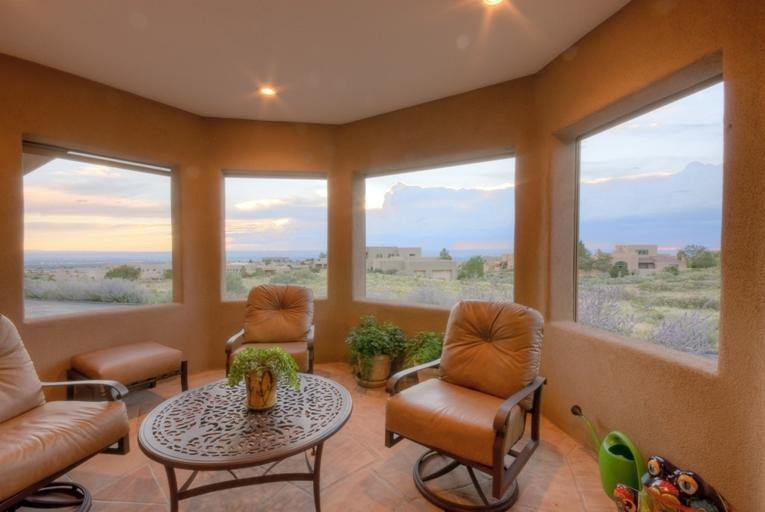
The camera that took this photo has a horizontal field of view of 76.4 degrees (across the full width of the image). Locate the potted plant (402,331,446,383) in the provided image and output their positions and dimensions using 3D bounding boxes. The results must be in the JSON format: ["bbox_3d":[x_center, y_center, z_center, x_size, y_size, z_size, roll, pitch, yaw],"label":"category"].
[{"bbox_3d":[0.546,1.064,5.316,0.534,0.527,0.486,1,-5,-26],"label":"potted plant"}]

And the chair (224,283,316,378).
[{"bbox_3d":[-1.185,0.828,5.467,0.894,1.162,1.054,0,-15,-6],"label":"chair"}]

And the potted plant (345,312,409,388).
[{"bbox_3d":[-0.051,1.072,5.736,0.640,0.801,0.785,-2,-3,20],"label":"potted plant"}]

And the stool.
[{"bbox_3d":[-2.560,0.914,4.787,0.542,0.533,0.826,6,5,40],"label":"stool"}]

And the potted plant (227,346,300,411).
[{"bbox_3d":[-0.971,0.942,3.966,0.512,0.415,0.518,1,-3,-12],"label":"potted plant"}]

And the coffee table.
[{"bbox_3d":[-1.059,1.308,3.833,1.548,0.445,0.974,1,1,2],"label":"coffee table"}]
